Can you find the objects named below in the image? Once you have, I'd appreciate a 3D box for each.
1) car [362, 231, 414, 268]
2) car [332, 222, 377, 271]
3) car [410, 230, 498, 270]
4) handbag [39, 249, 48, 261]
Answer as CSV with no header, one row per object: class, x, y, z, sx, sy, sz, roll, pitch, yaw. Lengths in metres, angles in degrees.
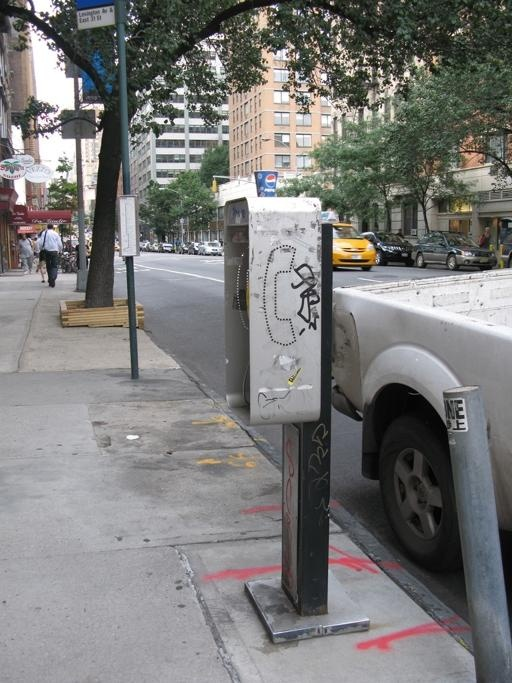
car,6.554,-4.725,33.830,1.318,1.234,2.646,-1,8,-20
car,3.899,-3.777,27.127,1.560,1.862,2.290,3,6,5
car,8.874,-4.049,29.923,1.524,1.425,3.194,-2,8,-24
handbag,-6.946,-2.805,22.042,0.163,0.393,0.565,-2,7,-33
